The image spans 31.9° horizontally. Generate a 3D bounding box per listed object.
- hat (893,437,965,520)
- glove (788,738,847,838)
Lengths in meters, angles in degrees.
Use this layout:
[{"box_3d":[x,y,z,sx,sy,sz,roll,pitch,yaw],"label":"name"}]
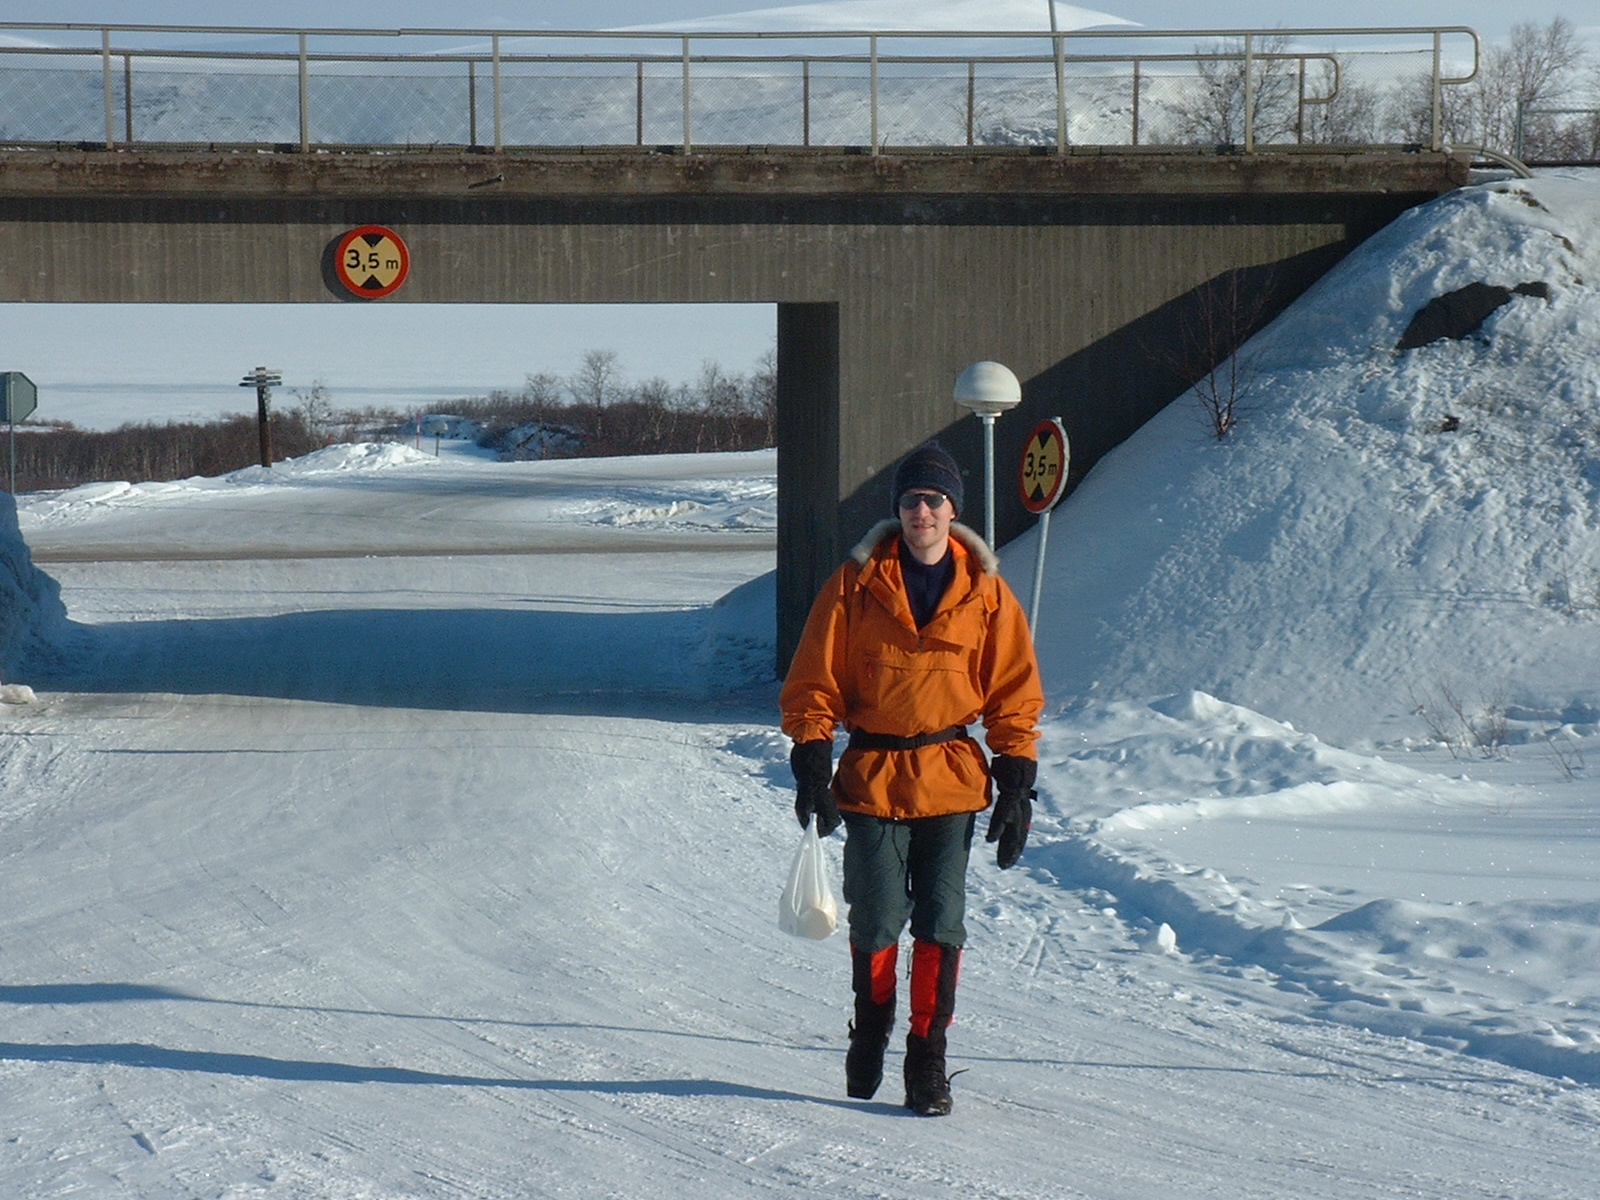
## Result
[{"box_3d":[0.909,-0.906,19.999,0.453,0.489,0.531,3,2,-7],"label":"hat"},{"box_3d":[0.205,1.296,19.768,0.301,0.664,0.342,-5,-6,-29],"label":"glove"}]
